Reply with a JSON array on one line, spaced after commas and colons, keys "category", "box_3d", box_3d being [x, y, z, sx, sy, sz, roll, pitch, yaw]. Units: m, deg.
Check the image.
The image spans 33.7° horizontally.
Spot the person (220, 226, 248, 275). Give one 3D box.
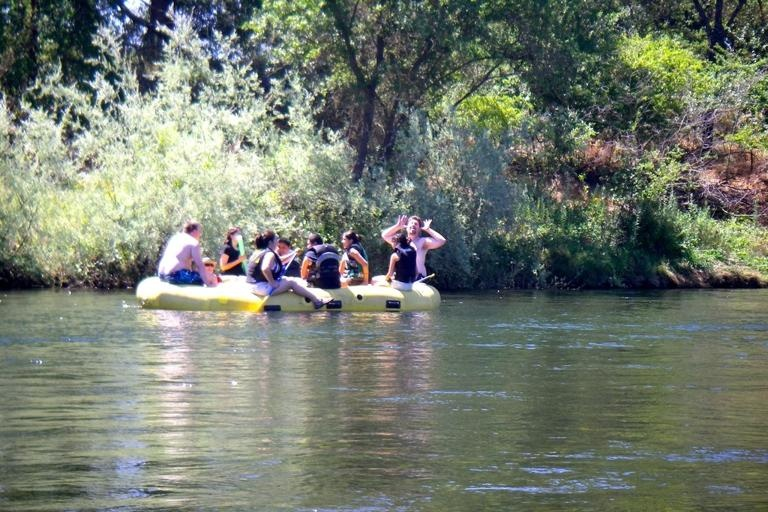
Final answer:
[{"category": "person", "box_3d": [-3.751, -0.099, 31.658, 0.600, 1.230, 1.125, 0, -5, -7]}]

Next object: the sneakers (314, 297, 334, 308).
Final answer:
[{"category": "sneakers", "box_3d": [-1.439, 1.107, 30.152, 0.509, 0.227, 0.171, -16, 1, -19]}]

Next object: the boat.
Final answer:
[{"category": "boat", "box_3d": [-2.224, 1.040, 30.145, 4.418, 0.647, 2.385, 3, -6, -19]}]

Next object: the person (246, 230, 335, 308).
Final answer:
[{"category": "person", "box_3d": [-2.407, 0.306, 29.796, 1.565, 1.750, 0.807, 0, -5, -7]}]

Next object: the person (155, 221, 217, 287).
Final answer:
[{"category": "person", "box_3d": [-4.757, -0.035, 30.164, 1.212, 1.481, 0.789, -2, -5, 13]}]

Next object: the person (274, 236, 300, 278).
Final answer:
[{"category": "person", "box_3d": [-2.383, 0.074, 31.122, 0.348, 0.359, 1.082, -29, -21, 11]}]
